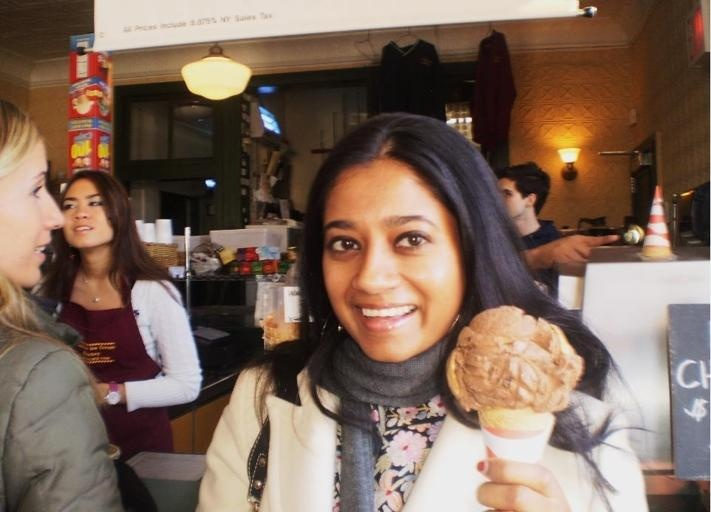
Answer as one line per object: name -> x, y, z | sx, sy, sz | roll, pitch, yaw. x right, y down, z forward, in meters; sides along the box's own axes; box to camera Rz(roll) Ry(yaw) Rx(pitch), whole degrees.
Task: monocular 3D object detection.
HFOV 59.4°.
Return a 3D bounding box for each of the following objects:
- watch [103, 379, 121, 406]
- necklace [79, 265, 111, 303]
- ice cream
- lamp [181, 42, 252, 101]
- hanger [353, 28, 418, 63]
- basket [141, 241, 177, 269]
watch -> -1.041, 0.592, 2.676 | 0.067, 0.095, 0.091 | 1, 6, -22
necklace -> -1.187, 0.131, 2.873 | 0.151, 0.183, 0.082 | 0, -3, 10
ice cream -> 0.379, 0.316, 1.503 | 0.313, 0.386, 0.119 | -1, 1, 8
lamp -> -0.859, -1.128, 3.913 | 0.421, 0.286, 0.382 | -3, 12, -2
hanger -> 0.263, -2.004, 5.787 | 0.610, 0.309, 0.557 | -1, 1, 4
basket -> -1.329, -0.024, 4.269 | 0.234, 0.107, 0.284 | 1, 4, 0
